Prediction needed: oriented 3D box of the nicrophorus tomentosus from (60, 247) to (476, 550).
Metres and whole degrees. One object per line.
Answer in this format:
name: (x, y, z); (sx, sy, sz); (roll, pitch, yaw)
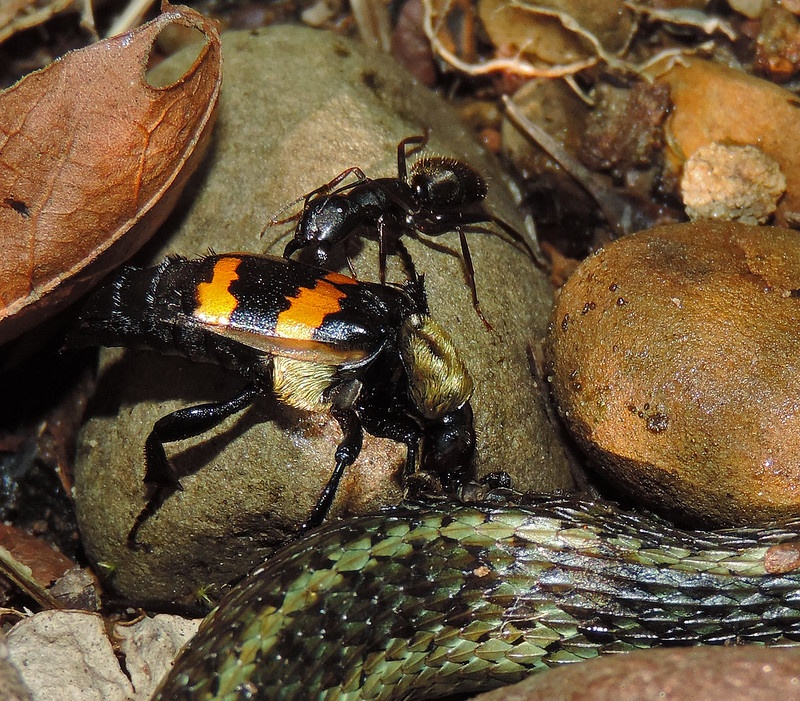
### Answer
nicrophorus tomentosus: (-0.459, 0.138, 4.085); (1.465, 0.681, 0.887); (-4, 56, 4)

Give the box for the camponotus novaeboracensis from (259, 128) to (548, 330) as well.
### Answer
camponotus novaeboracensis: (0.123, -0.575, 4.760); (1.504, 1.402, 0.470); (-15, 81, 4)
